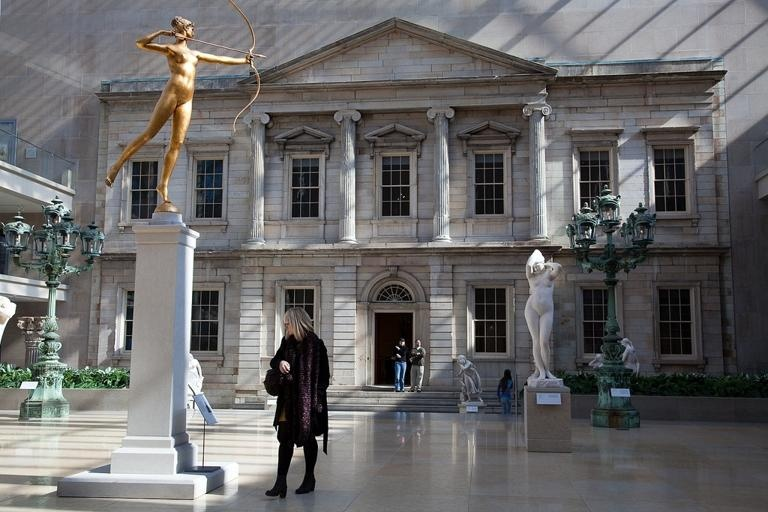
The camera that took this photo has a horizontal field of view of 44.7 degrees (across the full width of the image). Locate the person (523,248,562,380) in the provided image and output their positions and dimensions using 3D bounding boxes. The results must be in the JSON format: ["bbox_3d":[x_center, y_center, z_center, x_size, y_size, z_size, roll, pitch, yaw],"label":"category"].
[{"bbox_3d":[4.170,1.494,24.691,0.817,3.504,0.609,-1,-10,8],"label":"person"}]

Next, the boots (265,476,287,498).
[{"bbox_3d":[-2.311,5.072,20.415,0.626,0.538,0.272,4,-10,-2],"label":"boots"}]

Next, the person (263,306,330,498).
[{"bbox_3d":[-1.898,3.190,20.559,0.983,4.148,1.213,-9,-14,44],"label":"person"}]

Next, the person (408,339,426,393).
[{"bbox_3d":[1.212,4.188,34.591,0.476,1.620,0.852,1,-10,0],"label":"person"}]

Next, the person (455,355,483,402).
[{"bbox_3d":[3.016,4.313,32.878,0.807,1.612,1.222,0,-10,5],"label":"person"}]
